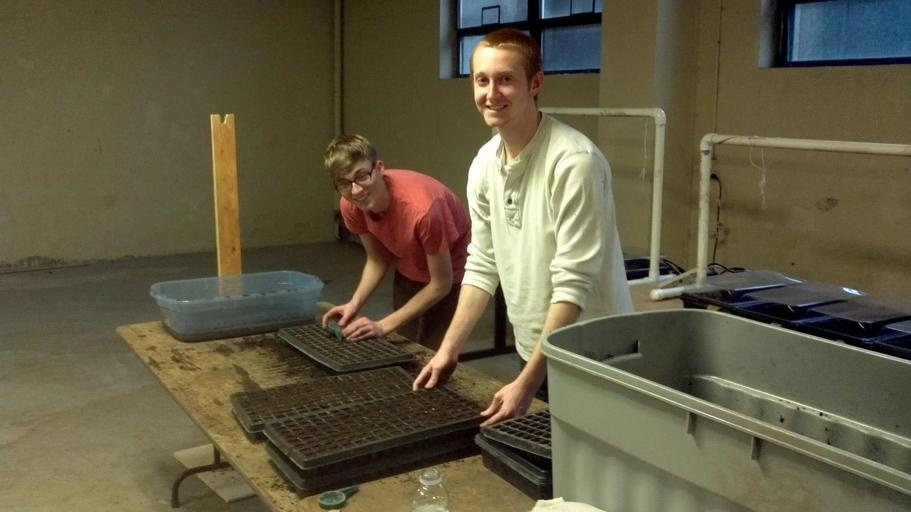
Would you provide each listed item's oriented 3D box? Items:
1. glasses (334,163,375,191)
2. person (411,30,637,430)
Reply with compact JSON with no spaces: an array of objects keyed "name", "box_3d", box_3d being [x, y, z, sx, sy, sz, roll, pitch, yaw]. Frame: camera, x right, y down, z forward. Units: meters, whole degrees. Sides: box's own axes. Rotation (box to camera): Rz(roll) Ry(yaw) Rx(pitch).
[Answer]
[{"name":"glasses","box_3d":[-0.496,-0.390,3.294,0.205,0.139,0.079,-3,17,-6]},{"name":"person","box_3d":[0.298,-0.142,2.678,0.749,1.491,0.502,8,20,26]}]
